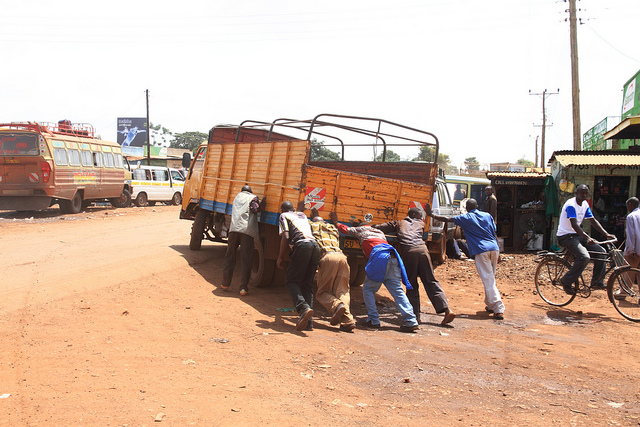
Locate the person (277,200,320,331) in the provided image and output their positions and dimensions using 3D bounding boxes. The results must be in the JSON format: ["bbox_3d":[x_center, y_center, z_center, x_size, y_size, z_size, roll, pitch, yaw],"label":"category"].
[{"bbox_3d":[-0.384,0.992,8.485,0.733,2.255,1.510,2,8,-15],"label":"person"}]

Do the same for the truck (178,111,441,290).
[{"bbox_3d":[-1.099,-0.446,13.111,4.397,4.031,8.131,6,1,-36],"label":"truck"}]

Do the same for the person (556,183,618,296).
[{"bbox_3d":[5.801,0.645,9.772,1.018,2.503,0.636,6,9,11],"label":"person"}]

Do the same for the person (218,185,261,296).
[{"bbox_3d":[-1.817,0.627,10.057,0.850,2.421,1.067,3,8,-10],"label":"person"}]

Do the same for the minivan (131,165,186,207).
[{"bbox_3d":[-11.589,-1.922,29.872,2.575,2.517,5.296,7,6,24],"label":"minivan"}]
